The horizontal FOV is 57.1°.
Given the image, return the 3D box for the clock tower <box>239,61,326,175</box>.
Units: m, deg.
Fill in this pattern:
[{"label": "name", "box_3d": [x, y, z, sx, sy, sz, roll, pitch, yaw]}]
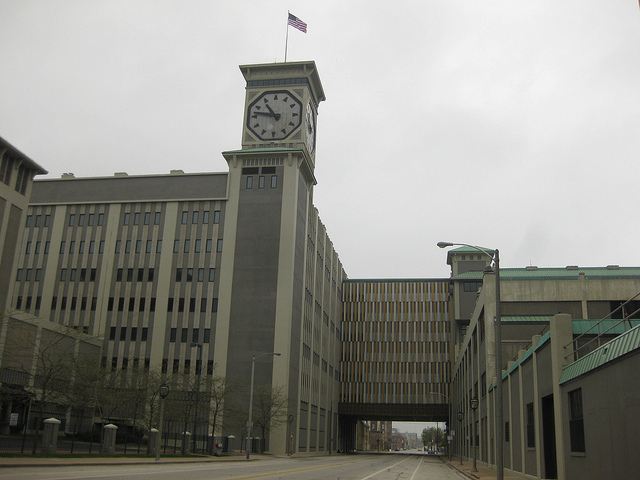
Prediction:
[{"label": "clock tower", "box_3d": [-6.373, -18.429, 92.431, 13.936, 18.402, 14.793, -10, -20, 38]}]
